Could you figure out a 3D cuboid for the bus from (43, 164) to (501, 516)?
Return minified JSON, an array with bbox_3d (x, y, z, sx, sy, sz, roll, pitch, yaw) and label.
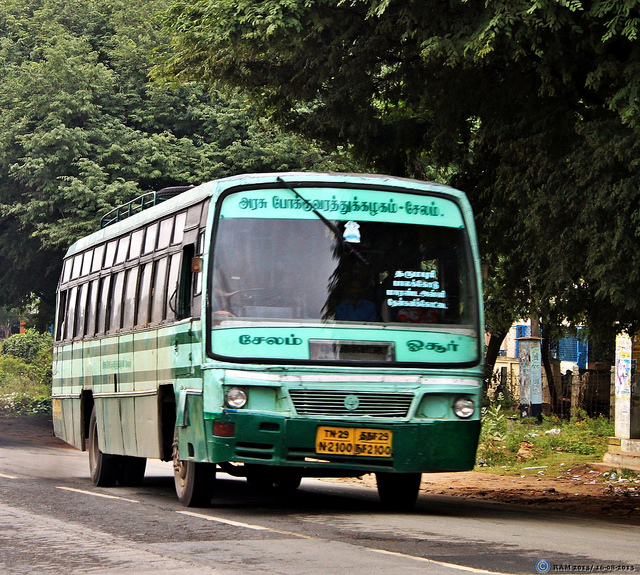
[{"bbox_3d":[-1.166,0.555,10.069,2.668,4.491,6.930,4,-7,-31],"label":"bus"}]
